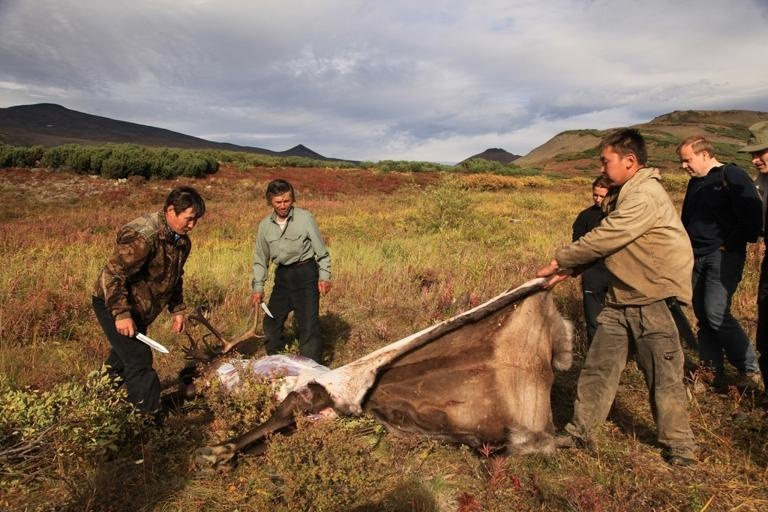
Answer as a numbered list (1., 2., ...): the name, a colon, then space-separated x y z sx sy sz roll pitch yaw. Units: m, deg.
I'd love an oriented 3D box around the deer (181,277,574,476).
1. deer: 0.216 1.312 5.598 3.609 1.292 2.033 -3 30 6
